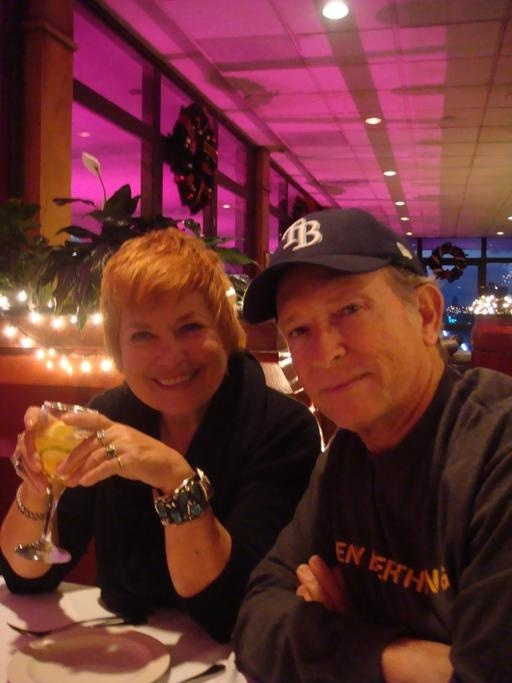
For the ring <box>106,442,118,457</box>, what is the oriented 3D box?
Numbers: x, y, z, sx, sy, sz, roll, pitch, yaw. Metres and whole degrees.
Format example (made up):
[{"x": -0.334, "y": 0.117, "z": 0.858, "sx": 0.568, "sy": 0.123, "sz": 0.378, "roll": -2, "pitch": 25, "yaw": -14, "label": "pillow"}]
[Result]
[{"x": -0.258, "y": 0.196, "z": 1.062, "sx": 0.016, "sy": 0.026, "sz": 0.023, "roll": -1, "pitch": 12, "yaw": -8, "label": "ring"}]

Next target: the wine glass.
[{"x": -0.398, "y": 0.257, "z": 1.123, "sx": 0.123, "sy": 0.294, "sz": 0.228, "roll": -1, "pitch": 4, "yaw": -26, "label": "wine glass"}]

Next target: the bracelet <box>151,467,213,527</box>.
[{"x": -0.141, "y": 0.292, "z": 1.149, "sx": 0.078, "sy": 0.075, "sz": 0.106, "roll": -31, "pitch": 2, "yaw": 1, "label": "bracelet"}]

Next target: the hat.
[{"x": 0.125, "y": -0.129, "z": 0.994, "sx": 0.239, "sy": 0.122, "sz": 0.175, "roll": 4, "pitch": -23, "yaw": -25, "label": "hat"}]

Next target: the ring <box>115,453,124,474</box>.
[{"x": -0.243, "y": 0.219, "z": 1.055, "sx": 0.012, "sy": 0.030, "sz": 0.022, "roll": -16, "pitch": 16, "yaw": -10, "label": "ring"}]

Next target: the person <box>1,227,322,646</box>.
[{"x": -0.135, "y": 0.243, "z": 1.488, "sx": 0.705, "sy": 0.937, "sz": 0.854, "roll": -5, "pitch": -17, "yaw": 22, "label": "person"}]
